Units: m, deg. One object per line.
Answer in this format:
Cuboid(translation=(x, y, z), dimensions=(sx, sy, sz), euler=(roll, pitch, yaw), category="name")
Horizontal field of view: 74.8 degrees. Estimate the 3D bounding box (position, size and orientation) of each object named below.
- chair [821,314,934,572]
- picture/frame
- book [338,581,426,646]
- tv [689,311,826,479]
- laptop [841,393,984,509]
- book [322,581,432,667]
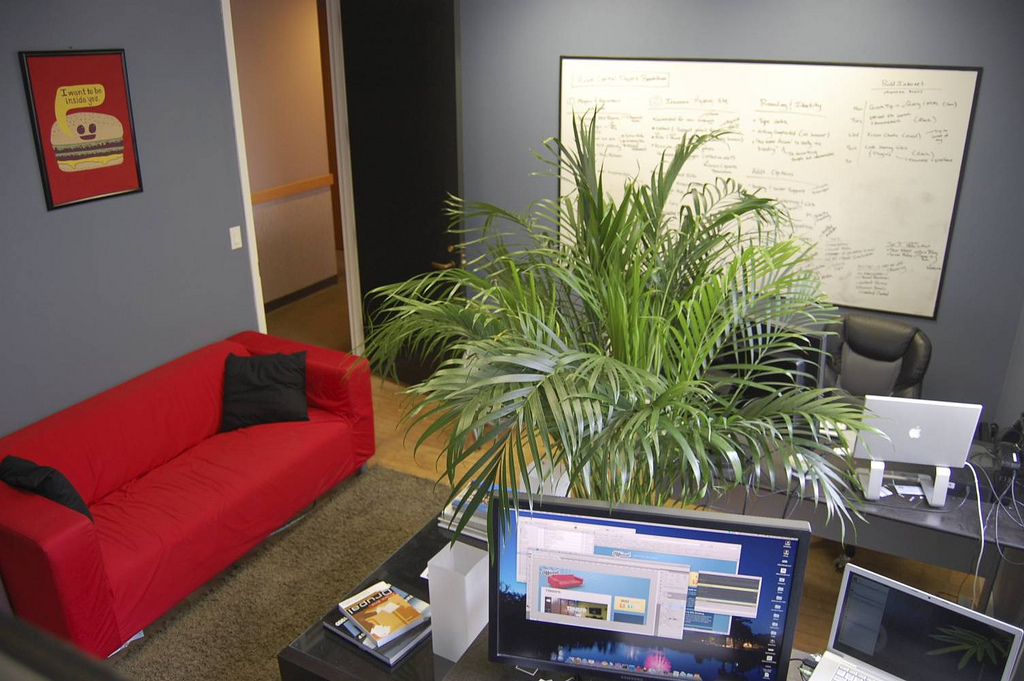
Cuboid(translation=(2.362, 0.561, 4.634), dimensions=(0.719, 1.292, 0.822), euler=(21, 41, 33), category="chair")
Cuboid(translation=(-2.582, -1.257, 3.980), dimensions=(0.041, 1.074, 0.790), euler=(15, 28, 36), category="picture/frame")
Cuboid(translation=(-0.569, 1.170, 2.960), dimensions=(0.289, 0.032, 0.326), euler=(18, 17, 37), category="book")
Cuboid(translation=(0.978, 0.203, 2.698), dimensions=(0.298, 0.559, 0.577), euler=(26, 48, 37), category="tv")
Cuboid(translation=(2.067, 0.529, 3.520), dimensions=(0.522, 0.567, 0.447), euler=(7, 13, 26), category="laptop")
Cuboid(translation=(-0.559, 1.193, 2.942), dimensions=(0.349, 0.062, 0.363), euler=(-39, 42, -24), category="book")
